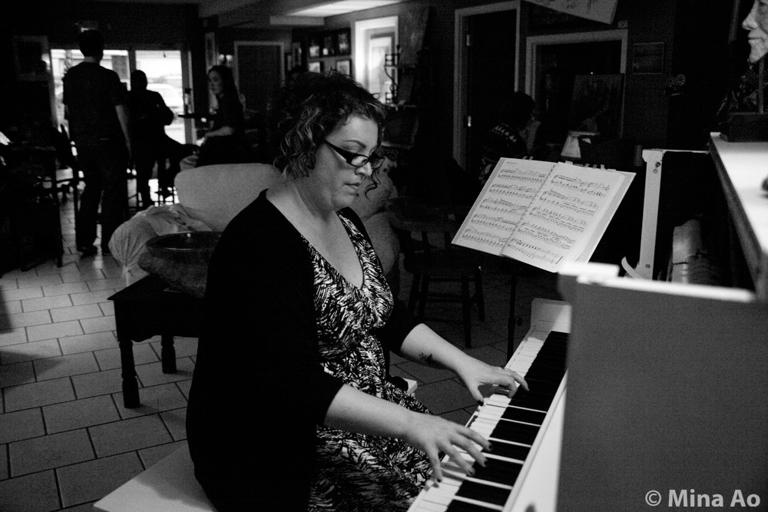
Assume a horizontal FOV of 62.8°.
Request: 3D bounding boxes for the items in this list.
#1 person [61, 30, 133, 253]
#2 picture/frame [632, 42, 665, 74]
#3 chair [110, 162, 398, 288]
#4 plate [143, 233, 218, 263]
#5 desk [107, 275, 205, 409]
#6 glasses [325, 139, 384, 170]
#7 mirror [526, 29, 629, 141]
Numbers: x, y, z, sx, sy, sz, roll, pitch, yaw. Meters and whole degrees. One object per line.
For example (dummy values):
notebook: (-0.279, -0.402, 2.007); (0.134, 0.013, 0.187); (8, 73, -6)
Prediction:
person: (-2.922, -1.094, 6.378); (0.653, 2.246, 0.642); (-7, 23, -22)
picture/frame: (2.602, -1.934, 6.146); (0.055, 0.339, 0.396); (-8, 7, -40)
chair: (-0.877, -0.200, 4.406); (1.799, 0.792, 0.928); (-1, 20, 14)
plate: (-1.038, -0.051, 3.231); (0.336, 0.112, 0.332); (-7, 13, -38)
desk: (-1.338, 0.451, 3.569); (0.577, 0.573, 0.725); (7, 7, 26)
glasses: (-0.076, -0.280, 1.797); (0.101, 0.029, 0.098); (35, 19, 22)
mirror: (2.067, -1.863, 6.951); (0.486, 1.170, 1.435); (-6, 21, -19)
